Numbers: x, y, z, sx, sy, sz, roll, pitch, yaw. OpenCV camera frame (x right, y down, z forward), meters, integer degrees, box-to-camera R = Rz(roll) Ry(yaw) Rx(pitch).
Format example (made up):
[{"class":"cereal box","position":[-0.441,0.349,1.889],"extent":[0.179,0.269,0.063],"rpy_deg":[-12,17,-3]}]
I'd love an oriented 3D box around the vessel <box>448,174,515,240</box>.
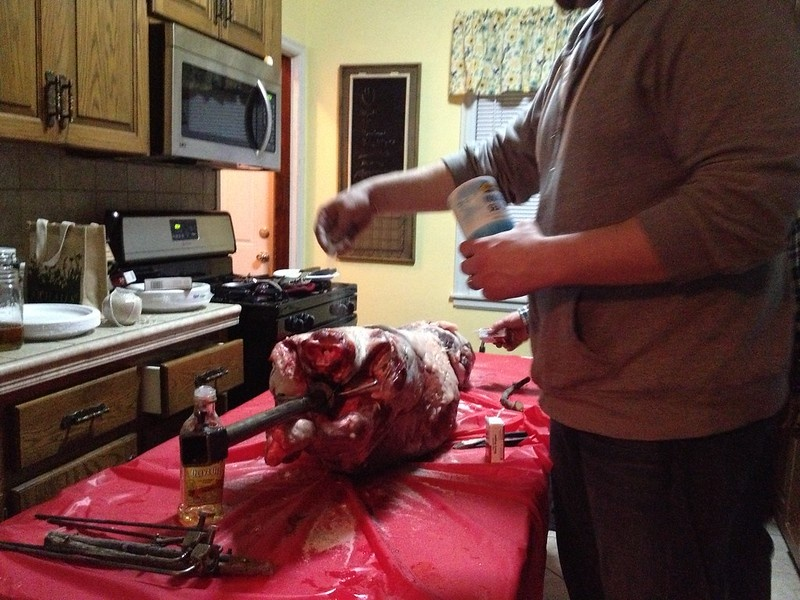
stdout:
[{"class":"vessel","position":[0.150,-0.163,1.078],"extent":[0.092,0.114,0.099],"rpy_deg":[-12,-8,-25]}]

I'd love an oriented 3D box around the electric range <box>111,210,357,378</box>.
[{"class":"electric range","position":[-0.766,-0.163,2.883],"extent":[0.680,1.033,1.032],"rpy_deg":[1,5,16]}]

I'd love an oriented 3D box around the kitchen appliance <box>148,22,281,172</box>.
[{"class":"kitchen appliance","position":[-0.994,-0.973,2.819],"extent":[0.451,0.513,0.993],"rpy_deg":[10,13,16]}]

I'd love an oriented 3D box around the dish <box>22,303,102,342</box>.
[{"class":"dish","position":[-1.114,0.063,1.894],"extent":[0.209,0.070,0.346],"rpy_deg":[-5,13,-32]}]

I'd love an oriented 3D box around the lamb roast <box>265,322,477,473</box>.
[{"class":"lamb roast","position":[-0.064,0.199,1.297],"extent":[0.237,0.222,0.507],"rpy_deg":[3,2,26]}]

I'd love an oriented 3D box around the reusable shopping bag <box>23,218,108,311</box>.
[{"class":"reusable shopping bag","position":[-1.214,-0.129,2.059],"extent":[0.240,0.301,0.111],"rpy_deg":[2,5,11]}]
